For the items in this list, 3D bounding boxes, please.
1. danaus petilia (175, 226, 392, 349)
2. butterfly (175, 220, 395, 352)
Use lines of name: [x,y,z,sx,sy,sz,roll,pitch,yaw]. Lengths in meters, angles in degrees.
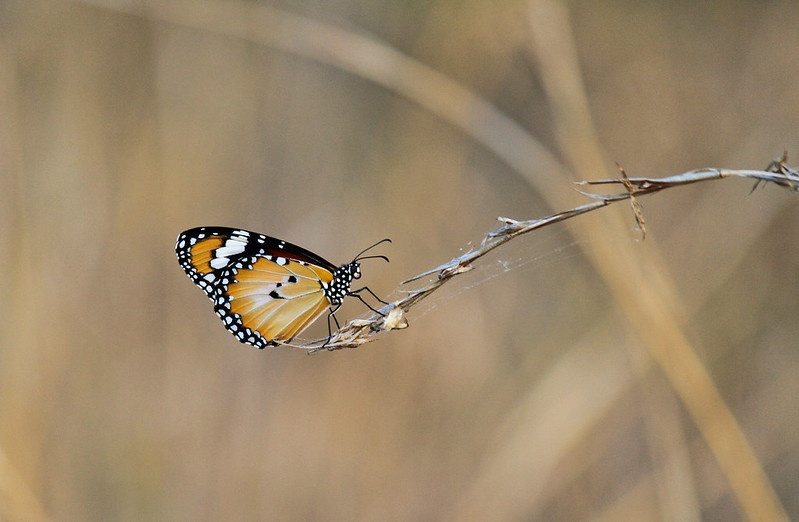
danaus petilia: [-0.217,0.054,1.617,0.368,0.102,0.181,5,-63,-11]
butterfly: [-0.258,0.065,1.717,0.429,0.181,0.304,-18,-100,6]
